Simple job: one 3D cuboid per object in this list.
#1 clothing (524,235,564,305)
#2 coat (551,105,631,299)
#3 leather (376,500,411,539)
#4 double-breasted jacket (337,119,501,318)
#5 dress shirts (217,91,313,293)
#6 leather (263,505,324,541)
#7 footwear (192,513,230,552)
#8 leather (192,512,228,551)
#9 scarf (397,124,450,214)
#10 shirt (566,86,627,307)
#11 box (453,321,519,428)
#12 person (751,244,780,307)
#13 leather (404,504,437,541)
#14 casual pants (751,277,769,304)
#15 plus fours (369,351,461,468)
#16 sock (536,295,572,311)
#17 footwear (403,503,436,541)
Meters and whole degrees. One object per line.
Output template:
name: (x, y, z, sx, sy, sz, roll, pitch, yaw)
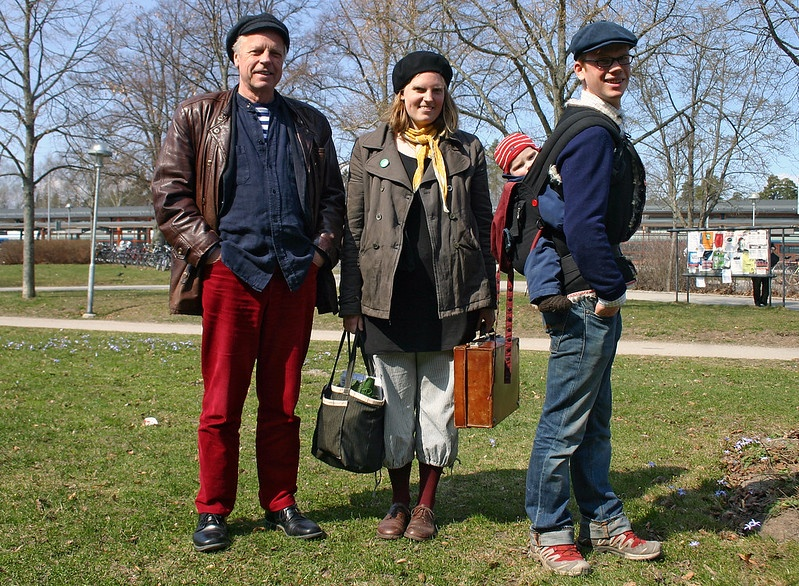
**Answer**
clothing: (0.930, -0.251, 5.143, 0.199, 0.405, 0.274, 8, 37, 21)
coat: (1.210, -0.490, 4.910, 0.303, 0.888, 0.631, -1, 30, 37)
leather: (-0.035, 1.598, 5.562, 0.181, 0.202, 0.513, 5, 0, 10)
double-breasted jacket: (0.129, -0.482, 5.543, 1.233, 1.728, 0.844, 1, -6, -1)
dress shirts: (-0.962, -0.718, 5.609, 0.641, 1.659, 0.449, -3, -19, -13)
leather: (-0.731, 1.581, 5.488, 0.444, 0.205, 0.171, 2, 0, 36)
footwear: (-1.293, 1.604, 5.387, 0.225, 0.256, 0.562, -3, -2, -11)
leather: (-1.295, 1.617, 5.364, 0.217, 0.245, 0.564, -3, -5, -16)
scarf: (0.181, -0.922, 5.569, 0.351, 0.571, 0.145, 6, -22, 20)
shirt: (1.181, -0.522, 4.880, 0.276, 0.869, 0.617, 5, 15, 44)
box: (0.635, 0.608, 5.690, 0.299, 0.611, 0.592, 0, 5, 26)
person: (8.848, -0.584, 19.084, 0.668, 1.706, 0.539, -2, 30, 18)
leather: (0.168, 1.616, 5.555, 0.209, 0.187, 0.506, 9, 2, 12)
casual pants: (8.841, -0.103, 19.162, 0.372, 0.750, 0.941, 5, 9, 26)
plus fours: (0.115, 0.789, 5.682, 0.521, 1.161, 0.334, -5, 29, -6)
sock: (0.984, 0.065, 4.975, 0.161, 0.076, 0.107, -1, 8, 10)
footwear: (0.164, 1.617, 5.555, 0.212, 0.186, 0.514, 11, 2, 12)
